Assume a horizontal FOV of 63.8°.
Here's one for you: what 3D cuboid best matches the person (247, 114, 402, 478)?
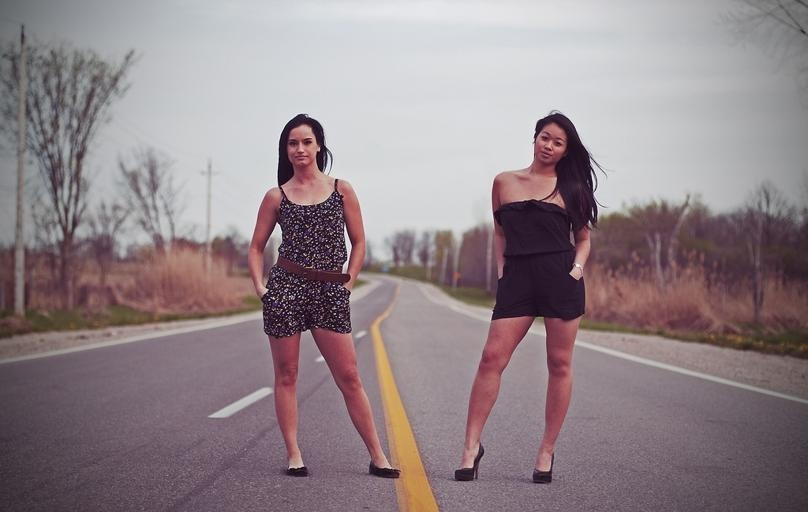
[{"bbox_3d":[-0.811,0.337,5.994,1.298,3.272,0.757,0,7,-1],"label":"person"}]

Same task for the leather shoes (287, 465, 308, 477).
[{"bbox_3d":[-0.965,1.946,5.878,0.192,0.089,0.056,-1,11,8],"label":"leather shoes"}]

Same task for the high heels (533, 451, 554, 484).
[{"bbox_3d":[1.252,1.969,5.898,0.105,0.149,0.326,-4,-10,19],"label":"high heels"}]

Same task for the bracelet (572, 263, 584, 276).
[{"bbox_3d":[1.577,0.113,5.954,0.073,0.133,0.122,0,5,2],"label":"bracelet"}]

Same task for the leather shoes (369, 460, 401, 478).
[{"bbox_3d":[-0.176,1.975,5.994,0.289,0.135,0.120,0,-2,11],"label":"leather shoes"}]
